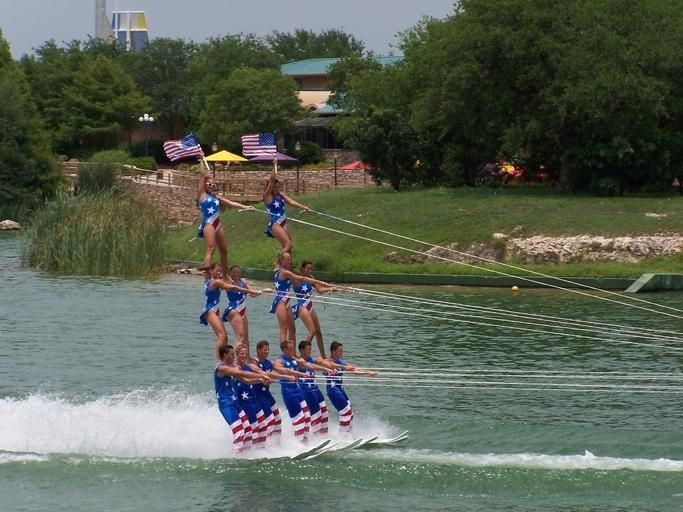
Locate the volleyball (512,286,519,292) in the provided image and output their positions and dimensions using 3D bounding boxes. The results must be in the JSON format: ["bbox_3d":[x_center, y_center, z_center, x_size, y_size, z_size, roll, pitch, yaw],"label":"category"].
[{"bbox_3d":[8.652,1.615,71.814,0.268,0.152,0.263,-5,7,-42],"label":"volleyball"}]

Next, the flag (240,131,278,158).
[{"bbox_3d":[-3.061,-4.389,57.593,0.963,0.973,1.674,-1,3,-43],"label":"flag"}]

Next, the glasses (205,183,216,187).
[{"bbox_3d":[-4.952,-2.736,56.495,0.336,0.158,0.163,0,2,-23],"label":"glasses"}]

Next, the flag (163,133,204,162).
[{"bbox_3d":[-6.117,-4.359,57.277,1.325,1.066,2.534,1,2,-9],"label":"flag"}]

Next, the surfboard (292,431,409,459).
[{"bbox_3d":[0.354,7.142,54.936,3.020,0.311,0.686,-5,-22,-13],"label":"surfboard"}]
